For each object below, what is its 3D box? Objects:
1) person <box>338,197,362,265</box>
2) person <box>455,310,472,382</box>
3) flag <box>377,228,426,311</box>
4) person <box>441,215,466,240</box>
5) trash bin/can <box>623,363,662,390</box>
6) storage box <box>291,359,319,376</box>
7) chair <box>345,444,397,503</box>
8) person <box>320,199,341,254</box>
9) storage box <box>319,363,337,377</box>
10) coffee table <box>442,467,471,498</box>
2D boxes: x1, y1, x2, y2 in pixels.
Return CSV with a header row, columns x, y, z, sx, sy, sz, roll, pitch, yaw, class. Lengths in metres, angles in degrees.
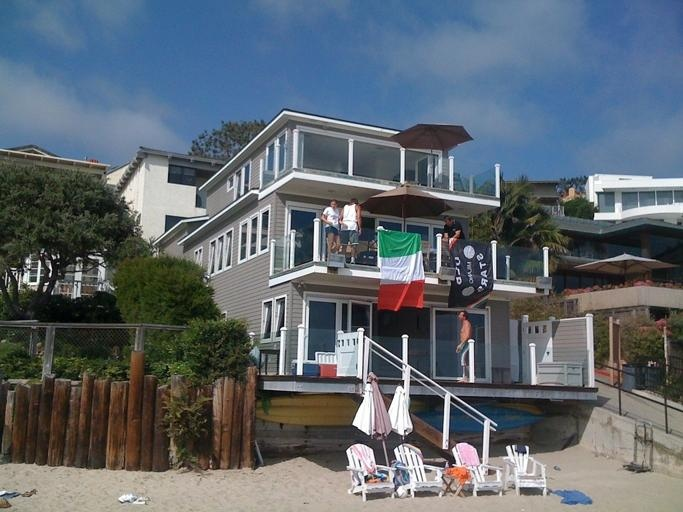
x,y,z,sx,sy,sz,roll,pitch,yaw,class
0.267,-0.740,25.614,0.648,1.870,0.653,4,14,0,person
3.999,2.961,24.896,0.504,1.907,1.343,6,14,9,person
1.966,0.477,25.690,1.639,2.492,1.196,4,14,0,flag
3.943,-0.939,27.114,0.588,0.733,0.913,6,15,8,person
11.388,4.625,28.965,1.084,0.802,0.584,4,-12,-17,trash bin/can
-1.072,3.403,22.933,0.550,0.357,0.554,2,-5,-3,storage box
0.802,5.950,20.775,1.242,1.277,1.210,1,15,-9,chair
-0.359,-0.953,25.531,0.636,1.677,1.081,3,14,-2,person
-0.405,3.498,23.280,0.592,0.433,0.324,6,-15,-26,storage box
3.172,6.270,21.155,0.782,0.820,0.671,7,-18,-17,coffee table
